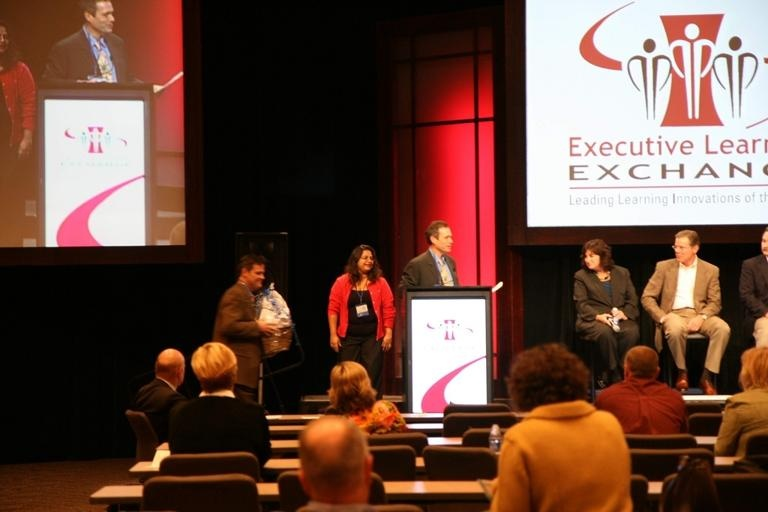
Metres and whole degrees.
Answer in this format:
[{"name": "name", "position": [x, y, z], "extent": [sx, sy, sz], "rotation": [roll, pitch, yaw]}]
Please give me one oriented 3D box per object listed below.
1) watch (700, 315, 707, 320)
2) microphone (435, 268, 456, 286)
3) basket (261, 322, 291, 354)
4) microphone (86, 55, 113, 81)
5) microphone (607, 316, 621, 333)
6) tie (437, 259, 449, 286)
[{"name": "watch", "position": [3.520, 0.672, 8.887], "extent": [0.092, 0.051, 0.027], "rotation": [-1, 0, -27]}, {"name": "microphone", "position": [0.704, 0.244, 9.097], "extent": [0.151, 0.157, 0.209], "rotation": [1, 3, 20]}, {"name": "basket", "position": [-1.148, 0.888, 8.617], "extent": [0.311, 0.318, 0.087], "rotation": [-11, 32, -39]}, {"name": "microphone", "position": [-3.283, -2.173, 9.497], "extent": [0.278, 0.292, 0.067], "rotation": [2, 5, -9]}, {"name": "microphone", "position": [2.572, 0.753, 9.022], "extent": [0.129, 0.180, 0.101], "rotation": [-1, 0, 14]}, {"name": "tie", "position": [0.683, 0.189, 9.173], "extent": [0.087, 0.327, 0.106], "rotation": [-16, -19, 30]}]
